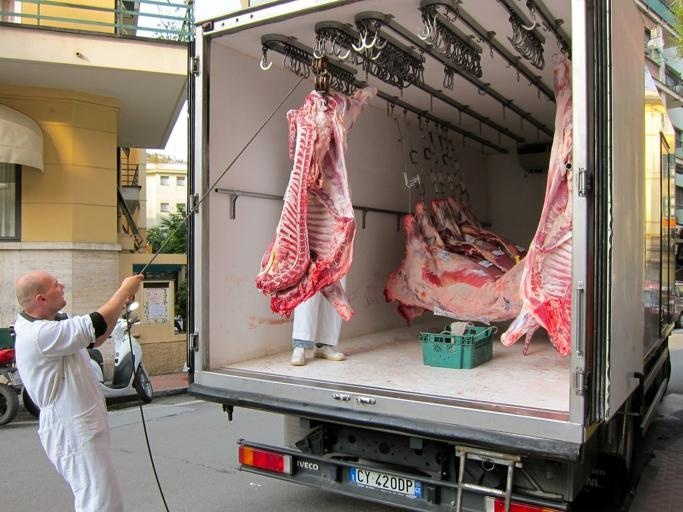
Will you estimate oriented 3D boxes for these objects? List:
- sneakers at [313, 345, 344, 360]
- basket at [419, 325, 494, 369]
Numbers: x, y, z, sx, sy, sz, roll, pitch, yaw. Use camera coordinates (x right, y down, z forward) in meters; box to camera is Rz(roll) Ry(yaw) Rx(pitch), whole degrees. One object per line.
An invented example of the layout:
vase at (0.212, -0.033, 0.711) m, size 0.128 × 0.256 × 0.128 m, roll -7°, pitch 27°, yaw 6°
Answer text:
sneakers at (-0.121, 0.921, 5.807) m, size 0.286 × 0.131 × 0.119 m, roll -3°, pitch -4°, yaw 33°
basket at (1.119, 0.847, 5.614) m, size 0.394 × 0.230 × 0.512 m, roll -2°, pitch -3°, yaw 26°
